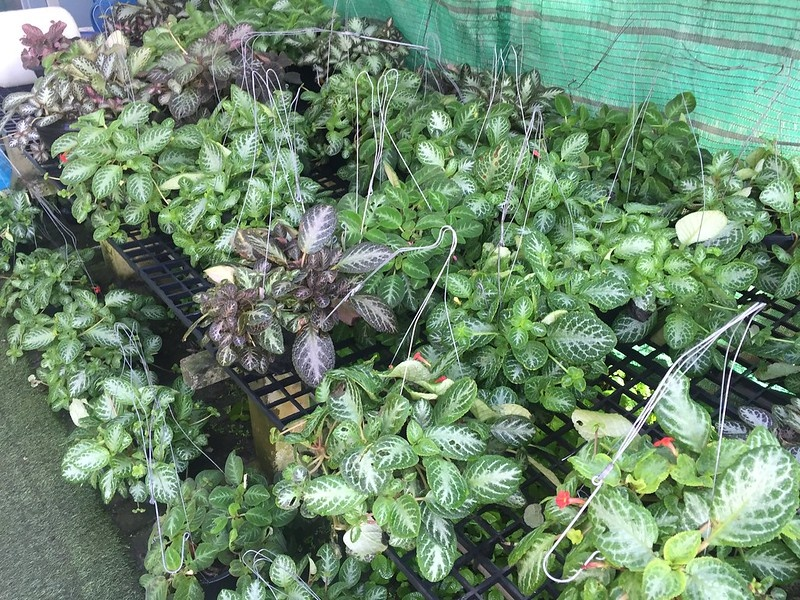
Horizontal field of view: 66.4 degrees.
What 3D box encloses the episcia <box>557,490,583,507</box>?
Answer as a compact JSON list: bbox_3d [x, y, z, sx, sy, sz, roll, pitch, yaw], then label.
[{"bbox_3d":[0.483,0.576,1.767,0.072,0.040,0.048,7,66,-6],"label":"episcia"}]
